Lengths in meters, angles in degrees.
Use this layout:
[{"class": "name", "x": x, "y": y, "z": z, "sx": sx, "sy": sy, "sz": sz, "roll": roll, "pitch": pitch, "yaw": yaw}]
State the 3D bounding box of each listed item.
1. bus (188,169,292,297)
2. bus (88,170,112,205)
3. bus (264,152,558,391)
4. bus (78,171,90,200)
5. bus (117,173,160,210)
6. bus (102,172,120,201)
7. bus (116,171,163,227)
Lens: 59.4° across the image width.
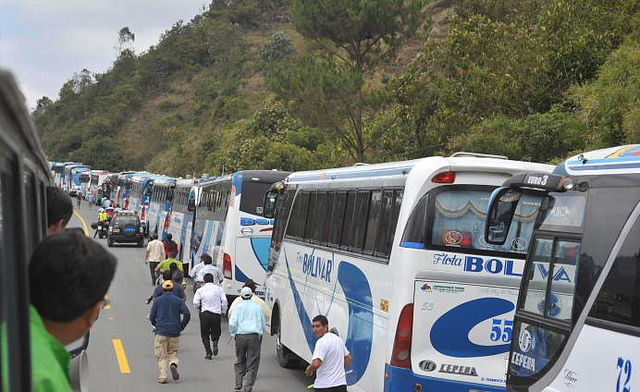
[{"class": "bus", "x": -3.962, "y": 1.460, "z": 24.415, "sx": 3.107, "sy": 4.906, "sz": 10.041, "roll": 7, "pitch": -2, "yaw": -26}, {"class": "bus", "x": -33.384, "y": -1.257, "z": 85.492, "sx": 3.836, "sy": 5.402, "sz": 11.331, "roll": 4, "pitch": 1, "yaw": -15}, {"class": "bus", "x": 1.405, "y": 1.294, "z": 13.247, "sx": 3.133, "sy": 4.437, "sz": 9.426, "roll": 1, "pitch": -1, "yaw": -14}, {"class": "bus", "x": -37.025, "y": -1.662, "z": 88.296, "sx": 1.231, "sy": 4.427, "sz": 5.425, "roll": 0, "pitch": 2, "yaw": -25}, {"class": "bus", "x": -19.230, "y": -1.386, "z": 61.351, "sx": 2.596, "sy": 3.510, "sz": 11.008, "roll": -5, "pitch": 11, "yaw": -15}, {"class": "bus", "x": -26.091, "y": -1.216, "z": 69.752, "sx": 2.452, "sy": 3.349, "sz": 6.550, "roll": 2, "pitch": 5, "yaw": -13}, {"class": "bus", "x": -16.979, "y": 0.743, "z": 54.827, "sx": 3.434, "sy": 4.060, "sz": 13.183, "roll": 15, "pitch": -5, "yaw": -10}]
